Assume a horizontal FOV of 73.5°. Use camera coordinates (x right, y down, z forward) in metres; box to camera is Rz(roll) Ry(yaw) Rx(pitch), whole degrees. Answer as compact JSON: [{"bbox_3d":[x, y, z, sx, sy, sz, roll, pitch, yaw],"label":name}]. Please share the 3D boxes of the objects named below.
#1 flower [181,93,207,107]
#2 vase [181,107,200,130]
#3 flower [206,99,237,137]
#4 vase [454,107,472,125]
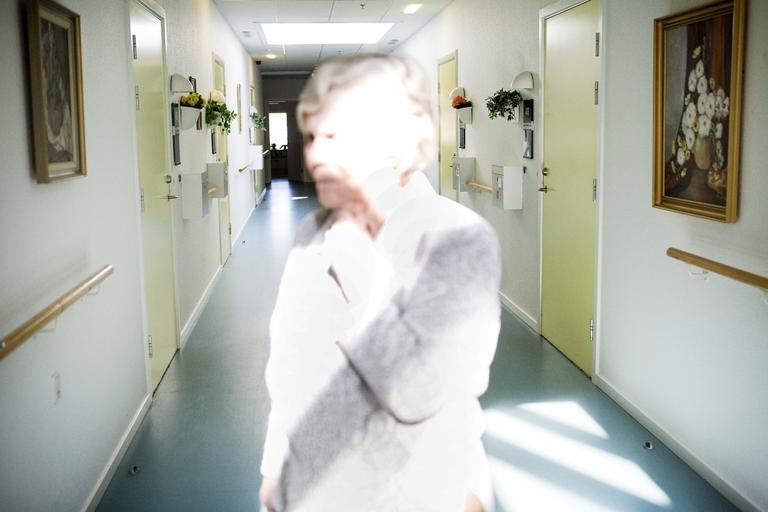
[{"bbox_3d":[-1.811,-1.513,4.931,0.152,0.083,0.169,-2,7,-4],"label":"flower"},{"bbox_3d":[-1.864,-1.327,4.918,0.131,0.209,0.252,12,19,38],"label":"vase"},{"bbox_3d":[-2.038,-1.736,6.282,0.412,0.327,0.420,12,7,-38],"label":"flower"},{"bbox_3d":[1.014,-1.781,6.505,0.163,0.238,0.189,3,7,7],"label":"vase"}]
